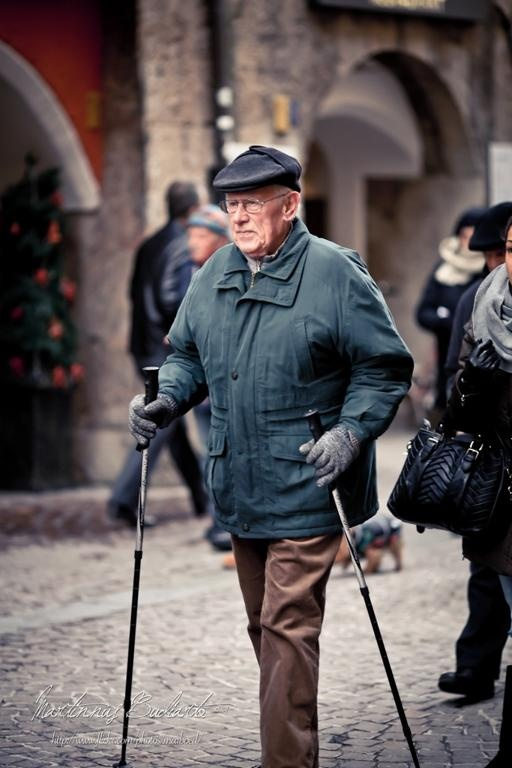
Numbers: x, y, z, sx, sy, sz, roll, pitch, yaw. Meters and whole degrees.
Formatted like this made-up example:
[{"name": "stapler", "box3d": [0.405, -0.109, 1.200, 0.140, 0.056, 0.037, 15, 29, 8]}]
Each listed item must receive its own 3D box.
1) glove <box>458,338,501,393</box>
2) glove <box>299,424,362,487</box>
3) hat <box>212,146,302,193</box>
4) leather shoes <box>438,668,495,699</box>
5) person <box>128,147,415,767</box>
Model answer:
[{"name": "glove", "box3d": [0.695, -0.053, 4.232, 0.052, 0.160, 0.119, 39, 3, -21]}, {"name": "glove", "box3d": [0.233, 0.215, 4.119, 0.096, 0.171, 0.175, 4, 7, 36]}, {"name": "hat", "box3d": [0.009, -0.688, 4.306, 0.222, 0.100, 0.175, 2, -7, -45]}, {"name": "leather shoes", "box3d": [0.823, 1.178, 5.253, 0.216, 0.138, 0.099, 10, -4, 11]}, {"name": "person", "box3d": [0.060, 0.200, 4.353, 0.671, 1.932, 0.620, 5, 7, 40]}]
